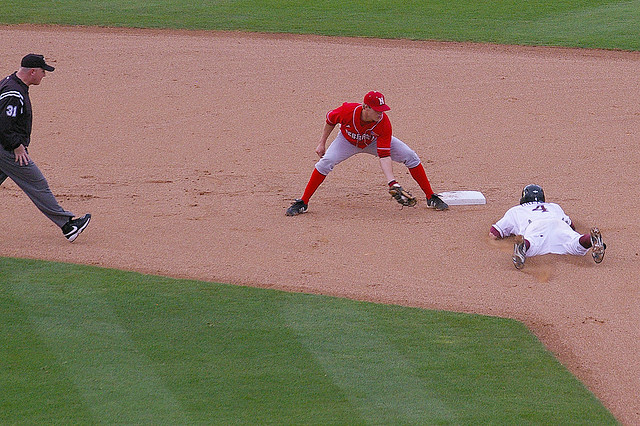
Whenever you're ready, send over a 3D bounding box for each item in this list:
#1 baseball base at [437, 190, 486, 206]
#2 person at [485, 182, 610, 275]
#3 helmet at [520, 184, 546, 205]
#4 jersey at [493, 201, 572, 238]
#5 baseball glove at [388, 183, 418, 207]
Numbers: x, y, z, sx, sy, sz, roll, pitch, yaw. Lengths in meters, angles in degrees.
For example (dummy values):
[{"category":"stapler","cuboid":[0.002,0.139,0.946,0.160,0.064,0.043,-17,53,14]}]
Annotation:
[{"category":"baseball base","cuboid":[2.247,-0.245,16.509,0.701,0.136,0.421,-1,20,-6]},{"category":"person","cuboid":[3.305,0.223,14.963,1.772,0.937,1.365,5,23,7]},{"category":"helmet","cuboid":[3.146,-0.281,15.392,0.323,0.263,0.321,3,28,5]},{"category":"jersey","cuboid":[3.035,0.048,15.109,0.906,0.214,0.618,-11,4,-3]},{"category":"baseball glove","cuboid":[1.264,-0.235,15.587,0.498,0.170,0.248,28,27,-10]}]
